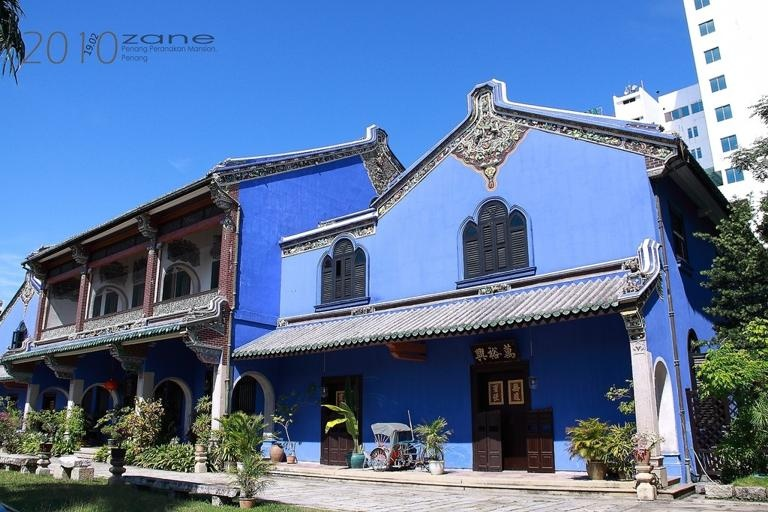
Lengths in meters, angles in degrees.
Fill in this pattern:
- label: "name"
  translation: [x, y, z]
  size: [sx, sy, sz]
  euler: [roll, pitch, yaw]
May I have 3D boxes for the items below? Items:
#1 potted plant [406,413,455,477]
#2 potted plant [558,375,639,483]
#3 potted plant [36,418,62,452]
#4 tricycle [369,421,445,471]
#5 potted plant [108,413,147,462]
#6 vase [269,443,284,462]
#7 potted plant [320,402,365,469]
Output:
- label: "potted plant"
  translation: [1.482, 5.988, 20.150]
  size: [1.337, 1.680, 1.112]
  euler: [-6, -22, 13]
- label: "potted plant"
  translation: [6.090, 4.815, 17.515]
  size: [1.874, 2.692, 1.354]
  euler: [-9, -23, 19]
- label: "potted plant"
  translation: [-14.062, 7.683, 26.265]
  size: [0.895, 1.270, 0.855]
  euler: [-26, -35, 21]
- label: "tricycle"
  translation: [0.638, 6.228, 20.422]
  size: [2.423, 1.493, 1.156]
  euler: [-11, -17, 41]
- label: "potted plant"
  translation: [-9.583, 6.667, 23.413]
  size: [1.668, 1.938, 1.069]
  euler: [-20, -29, 40]
- label: "vase"
  translation: [-3.888, 7.111, 22.714]
  size: [0.579, 0.720, 0.586]
  euler: [-27, -31, 36]
- label: "potted plant"
  translation: [-1.349, 6.368, 22.245]
  size: [1.844, 2.587, 1.951]
  euler: [3, -20, -4]
